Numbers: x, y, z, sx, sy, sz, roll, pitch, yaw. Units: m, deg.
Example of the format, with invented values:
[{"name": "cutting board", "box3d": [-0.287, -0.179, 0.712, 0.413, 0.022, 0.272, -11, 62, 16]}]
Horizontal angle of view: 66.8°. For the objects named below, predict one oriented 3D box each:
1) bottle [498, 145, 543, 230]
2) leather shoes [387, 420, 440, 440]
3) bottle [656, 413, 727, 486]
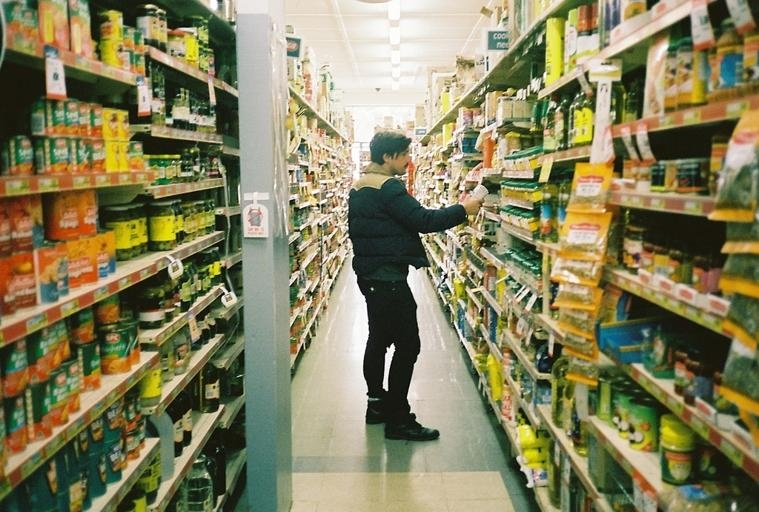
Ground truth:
[{"name": "bottle", "box3d": [0.858, -0.412, 3.464, 0.195, 0.562, 0.377, 0, -83, 4]}, {"name": "leather shoes", "box3d": [0.249, 1.309, 4.356, 0.399, 0.144, 0.168, 1, -94, -1]}, {"name": "bottle", "box3d": [1.205, 0.741, 2.267, 0.229, 0.232, 0.219, -1, -89, 7]}]
